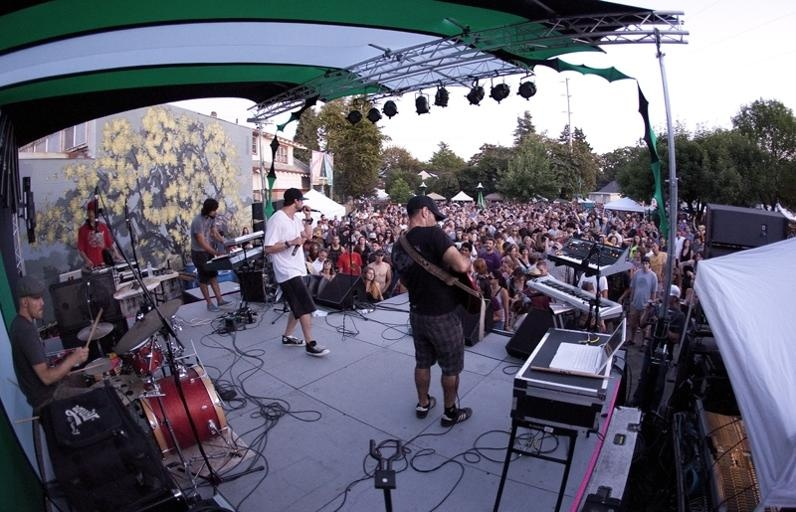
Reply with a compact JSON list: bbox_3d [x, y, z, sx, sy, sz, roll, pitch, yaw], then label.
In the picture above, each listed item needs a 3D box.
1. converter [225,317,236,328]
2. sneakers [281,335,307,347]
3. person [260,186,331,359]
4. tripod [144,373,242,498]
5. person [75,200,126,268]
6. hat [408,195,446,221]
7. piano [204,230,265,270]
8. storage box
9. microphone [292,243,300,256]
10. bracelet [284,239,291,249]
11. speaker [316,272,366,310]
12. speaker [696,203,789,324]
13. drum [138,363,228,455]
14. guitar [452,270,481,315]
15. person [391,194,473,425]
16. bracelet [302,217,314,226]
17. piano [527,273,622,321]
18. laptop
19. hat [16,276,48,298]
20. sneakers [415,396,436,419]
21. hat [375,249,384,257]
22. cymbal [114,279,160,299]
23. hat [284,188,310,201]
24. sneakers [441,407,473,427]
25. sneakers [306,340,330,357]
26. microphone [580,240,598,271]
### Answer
[{"bbox_3d":[-2.496,1.003,7.669,0.122,0.154,0.162,4,17,11],"label":"converter"},{"bbox_3d":[-1.445,1.164,7.103,0.365,0.157,0.157,0,6,-1],"label":"sneakers"},{"bbox_3d":[-1.419,0.190,6.935,0.673,2.197,0.949,-5,9,-13],"label":"person"},{"bbox_3d":[-2.397,1.755,5.695,0.894,1.127,1.327,-20,20,-31],"label":"tripod"},{"bbox_3d":[-4.973,-0.203,8.378,0.387,1.251,0.694,32,30,21],"label":"person"},{"bbox_3d":[0.300,-0.520,5.566,0.361,0.208,0.248,1,7,-20],"label":"hat"},{"bbox_3d":[-2.476,-0.038,7.634,0.595,0.379,0.792,1,9,17],"label":"piano"},{"bbox_3d":[1.477,1.290,5.256,0.774,0.431,1.431,9,5,6],"label":"storage box"},{"bbox_3d":[-1.360,-0.080,6.785,0.204,0.054,0.074,-49,-15,30],"label":"microphone"},{"bbox_3d":[-1.450,-0.152,6.718,0.080,0.098,0.066,-5,10,-17],"label":"bracelet"},{"bbox_3d":[-0.944,0.577,8.424,0.623,0.461,0.602,4,9,45],"label":"speaker"},{"bbox_3d":[4.963,-0.026,7.561,1.926,1.628,0.706,1,1,-10],"label":"speaker"},{"bbox_3d":[-2.342,1.744,5.703,0.716,0.934,0.931,-17,-3,-26],"label":"drum"},{"bbox_3d":[0.726,0.394,5.428,0.116,0.459,0.235,-26,-4,-37],"label":"guitar"},{"bbox_3d":[0.385,0.599,5.611,0.802,2.506,0.416,-1,9,9],"label":"person"},{"bbox_3d":[-1.403,-0.525,7.836,0.179,0.095,0.134,2,4,30],"label":"bracelet"},{"bbox_3d":[2.143,0.537,6.317,0.438,0.409,1.121,-9,11,-35],"label":"piano"},{"bbox_3d":[1.720,0.781,4.754,0.459,0.316,0.520,-1,7,19],"label":"laptop"},{"bbox_3d":[-3.855,0.331,5.467,0.288,0.168,0.211,-9,18,-29],"label":"hat"},{"bbox_3d":[0.303,1.708,5.813,0.112,0.144,0.333,0,8,22],"label":"sneakers"},{"bbox_3d":[-0.346,-0.060,9.206,0.111,0.089,0.151,-1,-18,1],"label":"hat"},{"bbox_3d":[-3.719,0.453,7.241,0.369,0.088,0.366,-24,24,-31],"label":"cymbal"},{"bbox_3d":[-1.357,-0.810,6.750,0.154,0.128,0.220,14,29,34],"label":"hat"},{"bbox_3d":[0.633,1.735,5.741,0.422,0.183,0.154,-11,15,-29],"label":"sneakers"},{"bbox_3d":[-1.105,1.228,6.837,0.359,0.158,0.154,-1,3,34],"label":"sneakers"},{"bbox_3d":[2.358,0.012,6.372,0.203,0.355,0.128,-12,40,-18],"label":"microphone"}]
